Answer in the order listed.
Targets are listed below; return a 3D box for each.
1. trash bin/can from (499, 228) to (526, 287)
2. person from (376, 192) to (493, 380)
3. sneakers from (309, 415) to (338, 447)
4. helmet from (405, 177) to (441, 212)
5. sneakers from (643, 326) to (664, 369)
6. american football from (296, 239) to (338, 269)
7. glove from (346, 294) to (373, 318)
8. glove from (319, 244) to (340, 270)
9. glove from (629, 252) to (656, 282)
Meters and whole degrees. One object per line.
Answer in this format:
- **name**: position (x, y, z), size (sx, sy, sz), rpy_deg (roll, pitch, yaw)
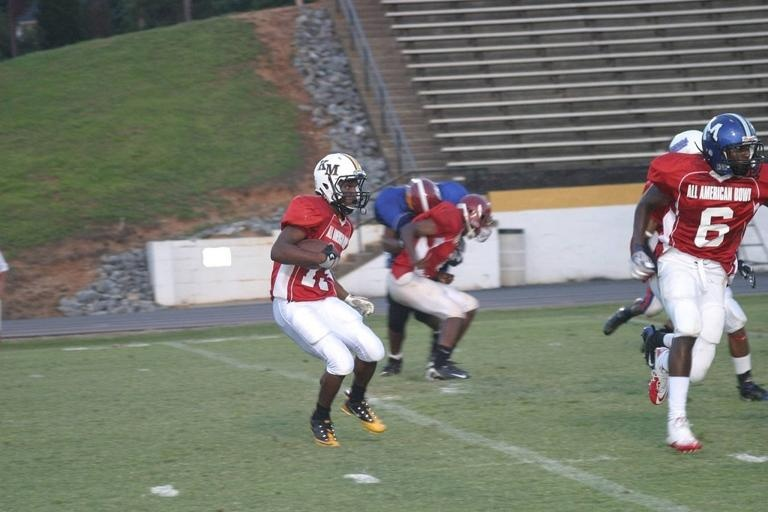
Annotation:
- **trash bin/can**: position (2.525, 0.000, 24.447), size (0.484, 1.084, 0.313), rpy_deg (-1, 8, 6)
- **person**: position (0.778, 0.405, 16.911), size (1.385, 2.405, 0.588), rpy_deg (-2, 8, -4)
- **sneakers**: position (-0.706, 2.086, 15.365), size (0.328, 0.354, 0.236), rpy_deg (-2, 8, -3)
- **helmet**: position (0.554, -0.795, 16.840), size (0.473, 0.429, 0.362), rpy_deg (-1, 7, 1)
- **sneakers**: position (3.392, 1.112, 15.886), size (0.243, 0.482, 0.327), rpy_deg (-12, -12, 43)
- **american football**: position (-0.723, -0.058, 15.264), size (0.517, 0.302, 0.257), rpy_deg (26, -46, -14)
- **glove**: position (-0.265, 0.591, 15.584), size (0.400, 0.189, 0.164), rpy_deg (24, 0, 9)
- **glove**: position (-0.610, 0.003, 15.281), size (0.292, 0.249, 0.144), rpy_deg (17, -4, 12)
- **glove**: position (3.143, 0.120, 15.306), size (0.261, 0.355, 0.143), rpy_deg (-1, 8, 5)
